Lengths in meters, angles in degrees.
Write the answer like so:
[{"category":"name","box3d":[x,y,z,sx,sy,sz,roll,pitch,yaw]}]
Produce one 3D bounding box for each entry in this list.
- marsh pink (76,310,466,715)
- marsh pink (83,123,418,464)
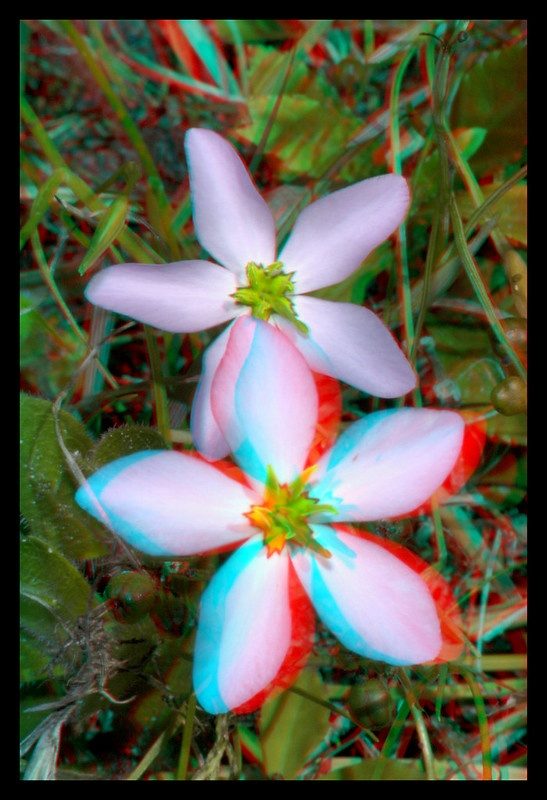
[{"category":"marsh pink","box3d":[0.016,0.064,0.378,0.206,0.183,0.046,-26,-16,18]},{"category":"marsh pink","box3d":[-0.016,-0.078,0.455,0.226,0.047,0.186,0,-53,-23]}]
